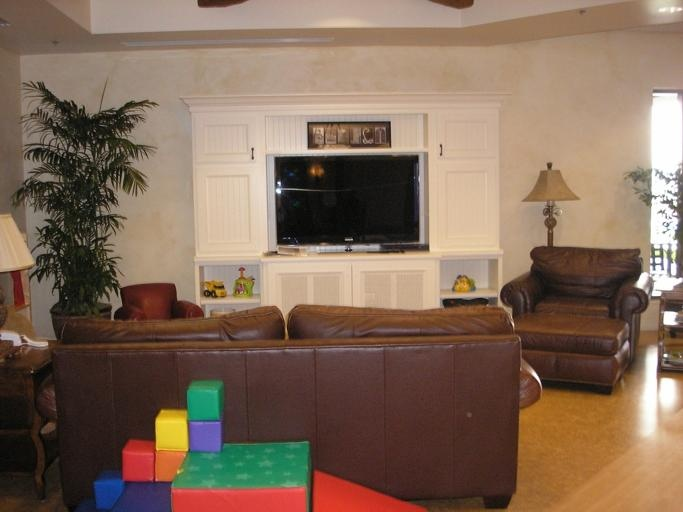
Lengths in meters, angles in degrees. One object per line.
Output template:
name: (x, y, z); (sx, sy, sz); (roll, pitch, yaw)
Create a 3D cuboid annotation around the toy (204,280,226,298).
toy: (-1.260, 0.334, 5.780); (0.218, 0.158, 0.139); (2, 3, 30)

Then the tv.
tv: (0.074, -0.577, 5.926); (1.535, 0.986, 0.039); (0, -12, 1)

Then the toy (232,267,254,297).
toy: (-0.978, 0.271, 5.761); (0.217, 0.368, 0.289); (-1, -4, 7)

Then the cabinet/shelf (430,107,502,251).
cabinet/shelf: (1.328, -0.773, 5.886); (0.188, 1.442, 0.703); (-17, 19, -42)

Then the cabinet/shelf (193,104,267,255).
cabinet/shelf: (-1.183, -0.678, 5.766); (0.730, 1.438, 0.188); (-10, 16, -43)

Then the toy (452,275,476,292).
toy: (1.262, 0.294, 5.858); (0.179, 0.130, 0.182); (-1, -5, 3)

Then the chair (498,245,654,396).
chair: (2.101, 0.485, 5.150); (1.145, 1.001, 1.405); (1, 4, 25)

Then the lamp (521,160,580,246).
lamp: (2.211, -0.558, 6.051); (0.530, 0.907, 0.608); (-2, 3, 20)
